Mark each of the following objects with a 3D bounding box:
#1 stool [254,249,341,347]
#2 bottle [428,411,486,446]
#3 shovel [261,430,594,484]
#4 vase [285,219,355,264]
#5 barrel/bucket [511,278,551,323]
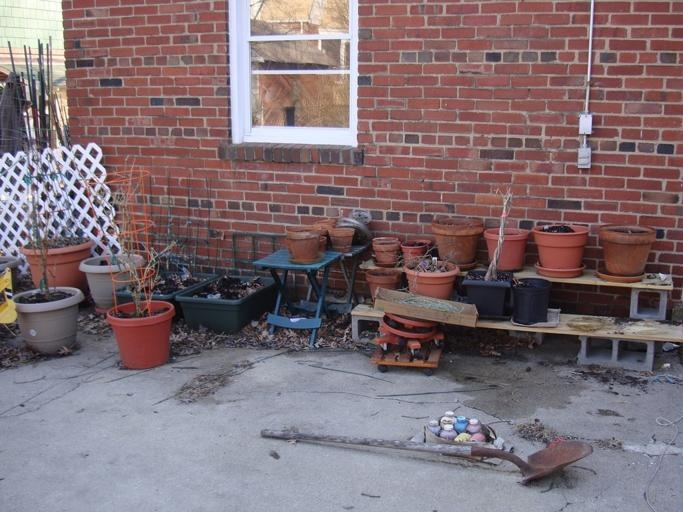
[{"bbox_3d":[-0.385,0.345,5.617,0.764,0.795,0.908,0,12,1],"label":"stool"},{"bbox_3d":[0.746,1.123,3.842,0.310,0.125,0.411,4,11,39],"label":"bottle"},{"bbox_3d":[0.508,1.256,3.737,2.152,0.282,0.190,2,32,10],"label":"shovel"},{"bbox_3d":[-0.223,-0.124,5.457,0.485,0.316,0.654,6,12,29],"label":"vase"},{"bbox_3d":[1.554,0.370,4.918,0.291,0.347,0.284,0,13,0],"label":"barrel/bucket"}]
